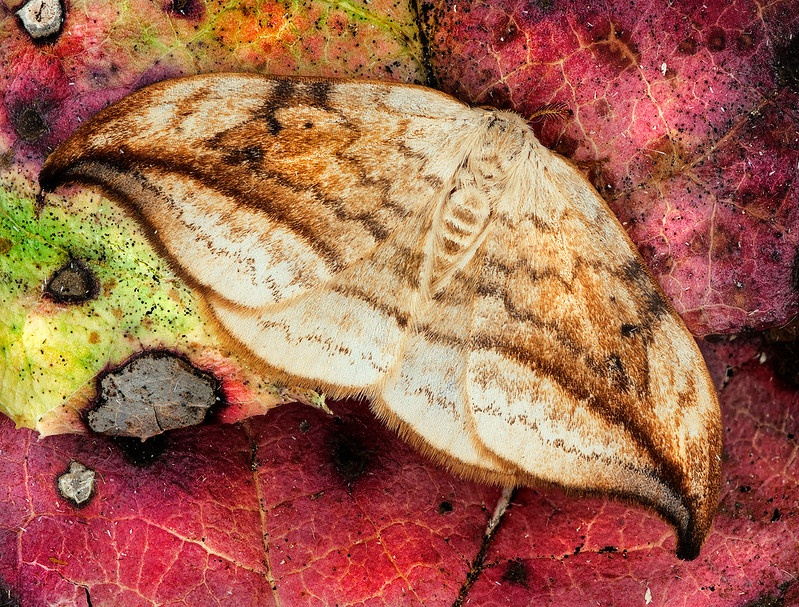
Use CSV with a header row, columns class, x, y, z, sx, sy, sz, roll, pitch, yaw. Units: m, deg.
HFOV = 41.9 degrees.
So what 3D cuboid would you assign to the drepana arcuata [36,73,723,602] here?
class,x,y,z,sx,sy,sz,roll,pitch,yaw
drepana arcuata,0.107,-0.140,4.969,3.127,0.597,1.488,27,82,5
